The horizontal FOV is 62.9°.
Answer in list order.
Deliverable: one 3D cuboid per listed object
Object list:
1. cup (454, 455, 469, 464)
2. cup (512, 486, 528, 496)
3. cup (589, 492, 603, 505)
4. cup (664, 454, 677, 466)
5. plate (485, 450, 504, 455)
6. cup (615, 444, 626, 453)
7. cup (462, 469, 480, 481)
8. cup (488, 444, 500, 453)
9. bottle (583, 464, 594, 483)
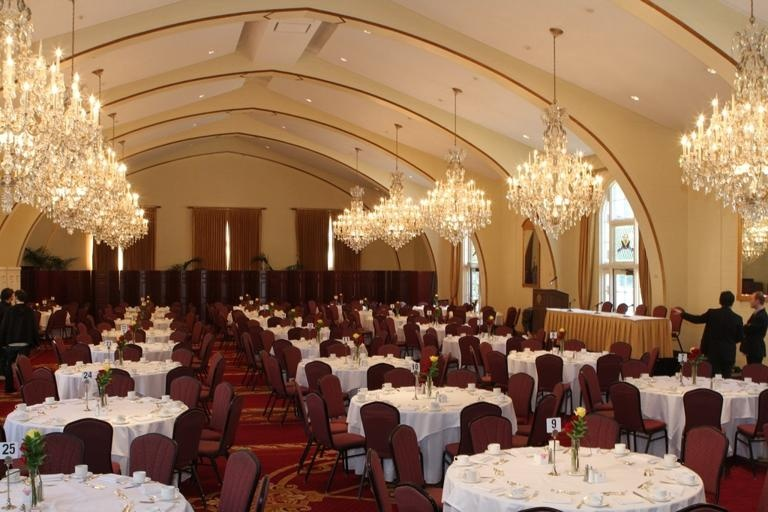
[{"bbox_3d":[0.882,2.337,7.212,0.123,0.069,0.094,-7,-5,24],"label":"cup"},{"bbox_3d":[1.398,2.437,6.530,0.091,0.054,0.098,0,-6,0],"label":"cup"},{"bbox_3d":[2.155,2.460,6.348,0.167,0.100,0.075,2,-8,-15],"label":"cup"},{"bbox_3d":[3.267,2.316,7.179,0.143,0.117,0.122,-3,-5,25],"label":"cup"},{"bbox_3d":[1.319,2.319,7.490,0.217,0.080,0.156,0,-8,-2],"label":"plate"},{"bbox_3d":[2.817,2.284,7.489,0.102,0.087,0.103,0,-3,0],"label":"cup"},{"bbox_3d":[0.958,2.383,6.843,0.130,0.101,0.086,-1,0,-22],"label":"cup"},{"bbox_3d":[1.309,2.288,7.506,0.117,0.093,0.096,-6,-9,22],"label":"cup"},{"bbox_3d":[2.241,2.365,6.882,0.096,0.166,0.269,-2,-8,18],"label":"bottle"}]
